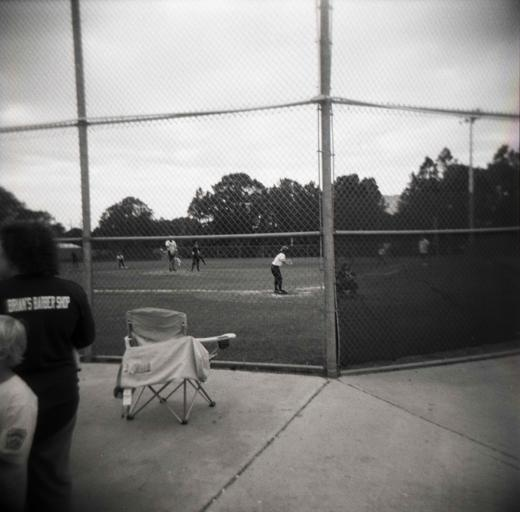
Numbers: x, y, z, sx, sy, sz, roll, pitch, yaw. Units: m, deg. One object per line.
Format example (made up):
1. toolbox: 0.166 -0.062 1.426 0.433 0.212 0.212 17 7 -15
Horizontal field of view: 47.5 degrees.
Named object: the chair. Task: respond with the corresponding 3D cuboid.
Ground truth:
1. chair: -0.795 0.928 5.311 0.820 1.123 0.840 -3 -6 20
